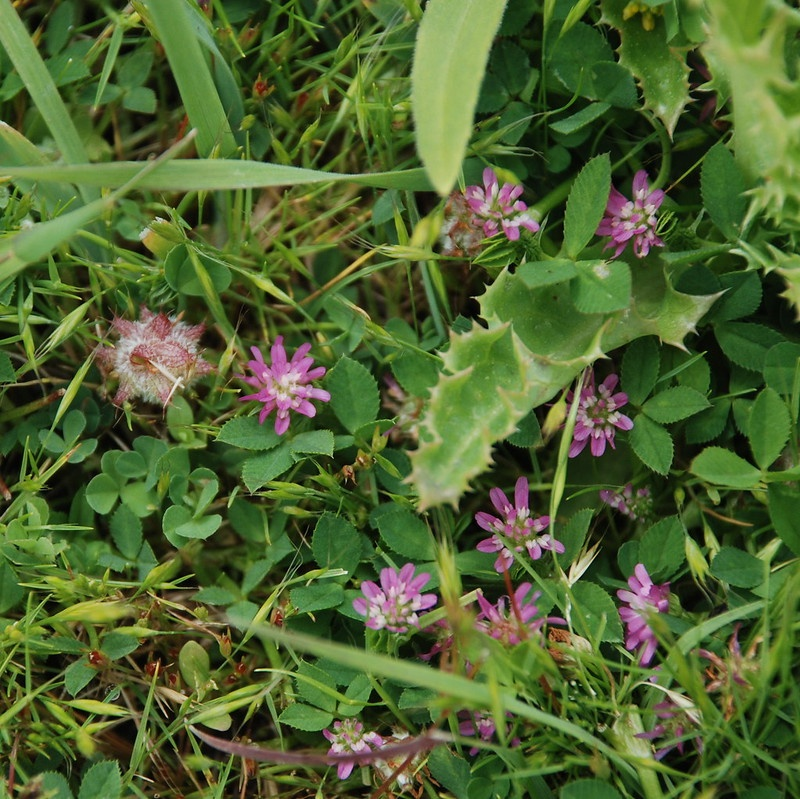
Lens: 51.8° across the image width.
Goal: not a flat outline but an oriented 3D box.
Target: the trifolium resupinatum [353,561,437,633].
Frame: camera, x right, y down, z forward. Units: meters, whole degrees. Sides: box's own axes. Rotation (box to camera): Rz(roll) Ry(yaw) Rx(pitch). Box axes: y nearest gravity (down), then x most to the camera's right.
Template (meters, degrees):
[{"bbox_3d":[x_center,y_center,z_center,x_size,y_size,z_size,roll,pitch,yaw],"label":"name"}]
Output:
[{"bbox_3d":[-0.005,0.325,1.359,0.129,0.117,0.104,-37,84,-6],"label":"trifolium resupinatum"}]

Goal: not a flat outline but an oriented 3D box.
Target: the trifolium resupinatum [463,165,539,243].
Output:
[{"bbox_3d":[0.174,-0.337,1.463,0.123,0.165,0.145,1,82,-1],"label":"trifolium resupinatum"}]

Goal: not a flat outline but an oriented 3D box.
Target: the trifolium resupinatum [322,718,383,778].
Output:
[{"bbox_3d":[-0.074,0.548,1.353,0.098,0.060,0.048,-5,82,-2],"label":"trifolium resupinatum"}]

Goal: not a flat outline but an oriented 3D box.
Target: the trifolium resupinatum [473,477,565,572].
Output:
[{"bbox_3d":[0.200,0.211,1.407,0.174,0.074,0.145,-10,85,17],"label":"trifolium resupinatum"}]

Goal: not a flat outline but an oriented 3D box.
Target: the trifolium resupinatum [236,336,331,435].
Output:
[{"bbox_3d":[-0.211,-0.021,1.493,0.163,0.154,0.170,-23,83,-4],"label":"trifolium resupinatum"}]
